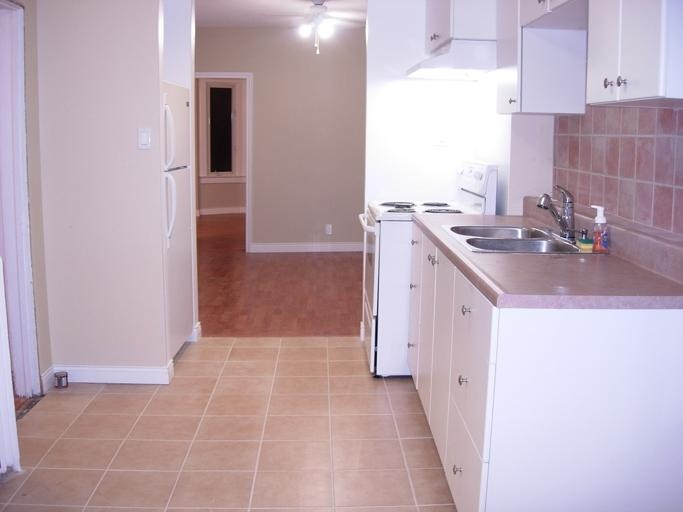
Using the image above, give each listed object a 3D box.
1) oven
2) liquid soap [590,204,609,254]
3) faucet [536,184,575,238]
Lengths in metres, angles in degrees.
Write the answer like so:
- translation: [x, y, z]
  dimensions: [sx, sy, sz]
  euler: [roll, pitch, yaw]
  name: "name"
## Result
- translation: [0.289, 0.240, 3.419]
  dimensions: [0.458, 0.982, 0.933]
  euler: [0, 8, 2]
  name: "oven"
- translation: [1.163, -0.135, 2.448]
  dimensions: [0.068, 0.196, 0.224]
  euler: [4, 15, 26]
  name: "liquid soap"
- translation: [1.023, -0.213, 2.570]
  dimensions: [0.139, 0.244, 0.297]
  euler: [7, 17, 34]
  name: "faucet"
